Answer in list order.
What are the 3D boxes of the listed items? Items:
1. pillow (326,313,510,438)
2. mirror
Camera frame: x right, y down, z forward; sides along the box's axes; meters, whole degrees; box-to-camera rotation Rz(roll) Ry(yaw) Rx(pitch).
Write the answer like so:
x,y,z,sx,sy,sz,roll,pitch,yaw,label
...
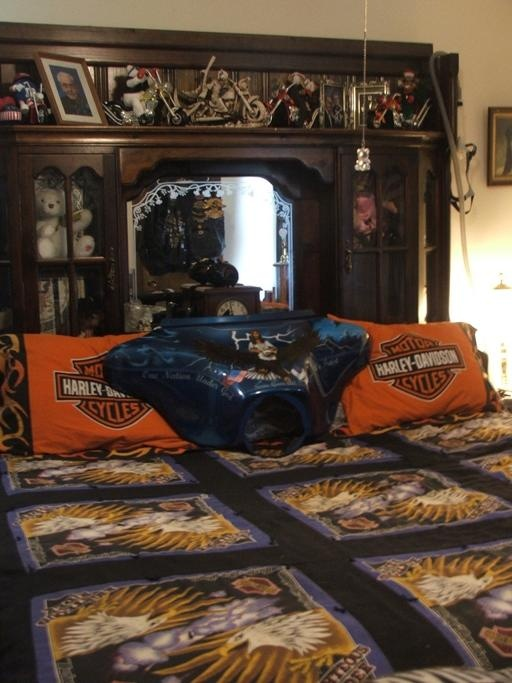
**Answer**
x,y,z,sx,sy,sz,roll,pitch,yaw,label
0.547,0.098,1.983,0.660,0.348,0.183,-3,-14,-27,pillow
-0.184,-0.444,2.531,0.851,0.798,0.062,-1,2,-20,mirror
